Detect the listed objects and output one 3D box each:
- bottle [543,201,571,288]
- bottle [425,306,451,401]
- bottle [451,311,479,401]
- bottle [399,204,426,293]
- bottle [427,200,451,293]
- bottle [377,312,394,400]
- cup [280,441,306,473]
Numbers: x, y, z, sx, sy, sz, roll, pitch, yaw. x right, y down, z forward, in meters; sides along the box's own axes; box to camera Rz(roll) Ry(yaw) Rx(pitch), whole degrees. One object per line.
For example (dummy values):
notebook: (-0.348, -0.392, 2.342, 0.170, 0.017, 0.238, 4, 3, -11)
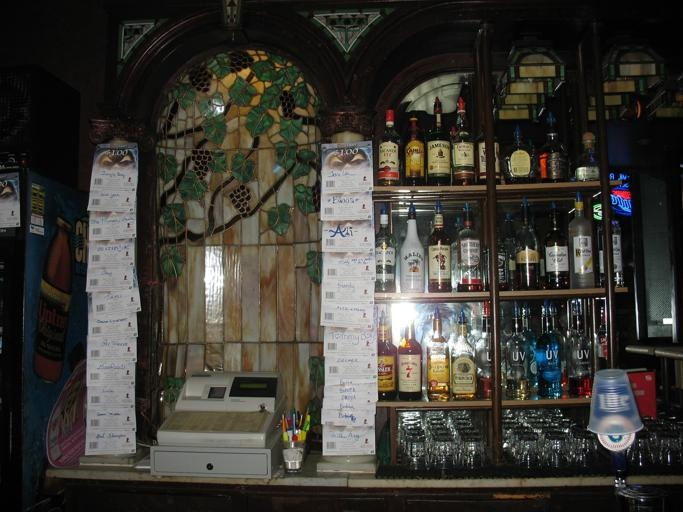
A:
bottle: (1.247, -0.067, 4.756, 0.126, 0.515, 0.151, -5, -10, 31)
bottle: (0.550, 0.564, 4.644, 0.122, 0.490, 0.116, 0, -9, 0)
bottle: (0.719, 0.579, 4.742, 0.140, 0.491, 0.244, -6, -11, 35)
bottle: (0.402, -0.041, 4.737, 0.153, 0.525, 0.118, -3, -9, 16)
bottle: (0.580, -0.048, 4.737, 0.163, 0.520, 0.150, 0, -9, 0)
bottle: (0.267, 0.566, 4.700, 0.126, 0.505, 0.084, 2, -9, -11)
cup: (-0.263, 1.124, 4.593, 0.120, 0.155, 0.157, 1, -17, 0)
